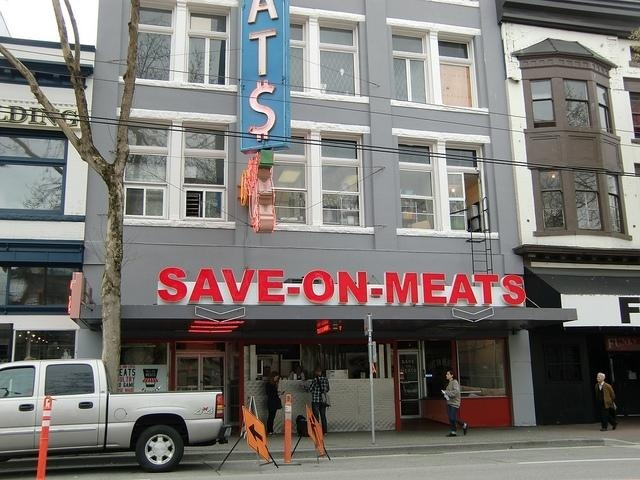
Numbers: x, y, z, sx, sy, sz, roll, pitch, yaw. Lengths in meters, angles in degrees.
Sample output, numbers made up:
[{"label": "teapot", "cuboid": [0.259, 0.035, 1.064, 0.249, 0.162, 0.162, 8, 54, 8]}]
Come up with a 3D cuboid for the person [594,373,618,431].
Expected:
[{"label": "person", "cuboid": [9.674, 5.462, 22.207, 0.532, 1.835, 0.996, -6, -12, 20]}]

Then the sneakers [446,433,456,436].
[{"label": "sneakers", "cuboid": [4.136, 6.097, 20.574, 0.289, 0.120, 0.447, -4, -11, 10]}]

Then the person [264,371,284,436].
[{"label": "person", "cuboid": [-1.543, 5.387, 21.641, 0.532, 1.996, 0.796, -1, -11, -5]}]

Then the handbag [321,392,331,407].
[{"label": "handbag", "cuboid": [0.213, 5.047, 20.779, 0.158, 0.401, 0.415, -6, -12, 21]}]

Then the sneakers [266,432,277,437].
[{"label": "sneakers", "cuboid": [-1.570, 6.344, 21.570, 0.230, 0.110, 0.326, -6, -10, -44]}]
